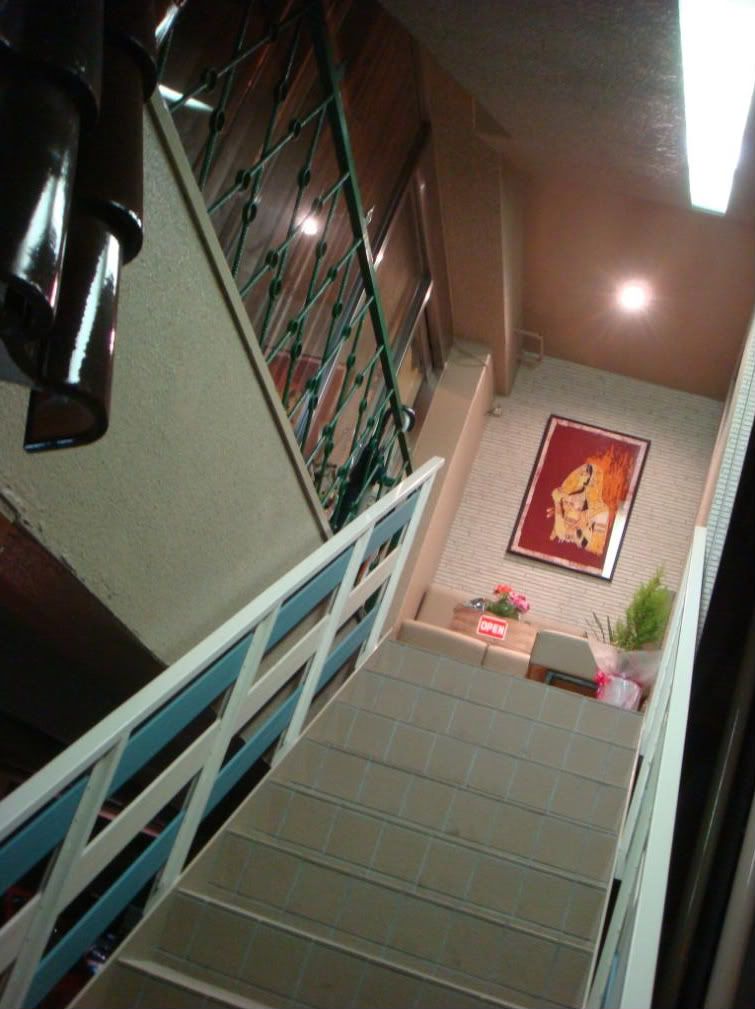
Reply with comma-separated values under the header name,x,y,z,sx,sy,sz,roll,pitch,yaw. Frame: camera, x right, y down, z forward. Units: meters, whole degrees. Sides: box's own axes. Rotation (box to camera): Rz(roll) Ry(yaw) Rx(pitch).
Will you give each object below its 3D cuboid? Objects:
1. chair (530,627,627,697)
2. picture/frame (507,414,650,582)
name,x,y,z,sx,sy,sz,roll,pitch,yaw
chair,1.300,1.122,4.997,0.616,0.348,0.468,16,-8,6
picture/frame,1.743,-0.089,6.318,0.893,1.430,0.048,9,-27,28
